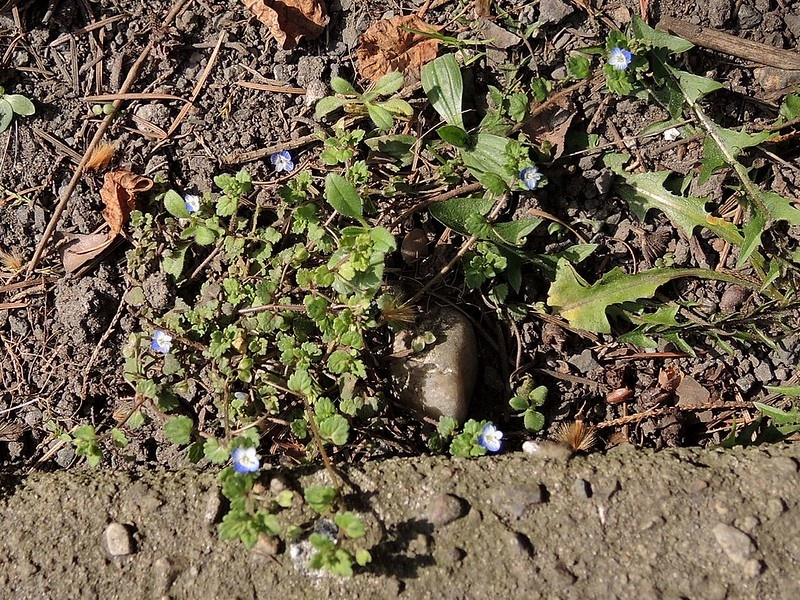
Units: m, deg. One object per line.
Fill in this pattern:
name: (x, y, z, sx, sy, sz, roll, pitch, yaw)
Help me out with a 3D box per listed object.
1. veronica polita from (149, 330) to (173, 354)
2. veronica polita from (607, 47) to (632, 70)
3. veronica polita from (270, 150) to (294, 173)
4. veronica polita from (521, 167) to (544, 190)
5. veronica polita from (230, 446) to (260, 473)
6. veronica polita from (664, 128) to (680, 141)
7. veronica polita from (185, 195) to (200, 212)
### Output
veronica polita: (-1.100, 0.185, 3.427, 0.088, 0.043, 0.110, -19, 90, 8)
veronica polita: (1.019, -1.124, 3.424, 0.091, 0.045, 0.104, -22, 96, 23)
veronica polita: (-0.567, -0.679, 3.642, 0.097, 0.039, 0.120, 2, 86, 4)
veronica polita: (0.596, -0.566, 3.384, 0.090, 0.076, 0.069, 31, 64, 24)
veronica polita: (-0.637, 0.675, 3.063, 0.109, 0.070, 0.103, -12, 56, -1)
veronica polita: (1.340, -0.817, 3.633, 0.061, 0.019, 0.061, 36, 105, 0)
veronica polita: (-0.988, -0.460, 3.519, 0.063, 0.031, 0.080, 4, 84, -1)
